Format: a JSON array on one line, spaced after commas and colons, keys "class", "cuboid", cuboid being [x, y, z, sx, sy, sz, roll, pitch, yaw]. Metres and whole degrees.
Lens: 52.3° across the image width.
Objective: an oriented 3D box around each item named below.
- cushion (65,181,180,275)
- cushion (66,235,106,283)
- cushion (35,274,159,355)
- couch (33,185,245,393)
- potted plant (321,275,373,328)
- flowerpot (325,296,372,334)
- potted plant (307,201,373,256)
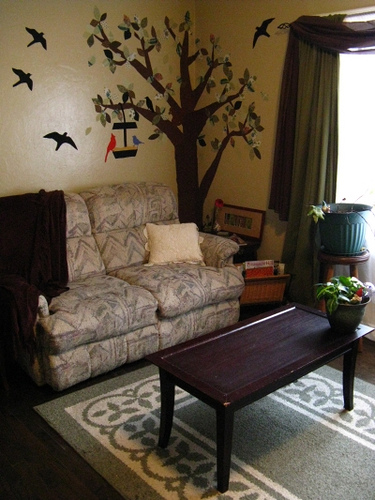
[{"class": "cushion", "cuboid": [-0.586, -0.254, 3.173, 1.017, 0.719, 0.526, -11, 27, -29]}, {"class": "cushion", "cuboid": [-0.717, 0.060, 2.639, 0.113, 0.281, 0.292, -5, 9, 34]}, {"class": "cushion", "cuboid": [-0.515, 0.350, 2.102, 0.373, 0.160, 0.383, -11, 17, -36]}, {"class": "couch", "cuboid": [-0.360, 0.155, 2.631, 1.462, 0.959, 0.869, -14, 23, -39]}, {"class": "potted plant", "cuboid": [0.748, 0.236, 1.784, 0.289, 0.210, 0.174, -7, 10, -44]}, {"class": "flowerpot", "cuboid": [0.730, 0.281, 1.769, 0.172, 0.135, 0.167, -5, 18, -11]}, {"class": "potted plant", "cuboid": [0.966, -0.147, 2.481, 0.364, 0.278, 0.368, 0, 12, 14]}]
